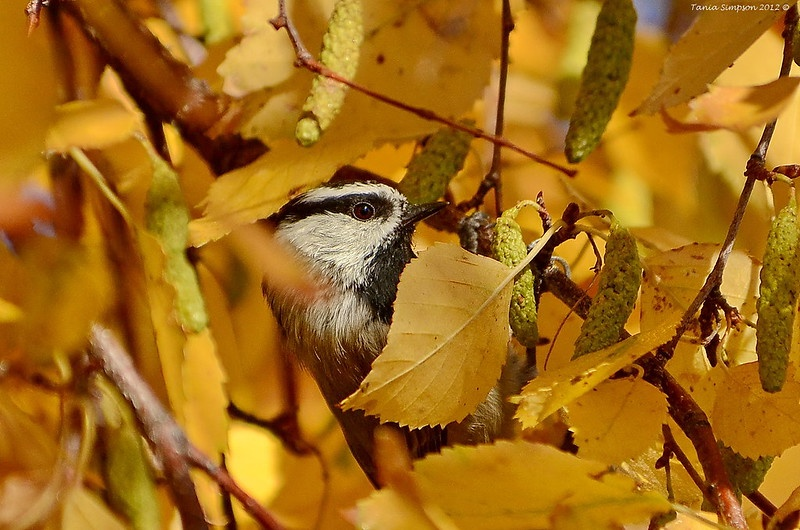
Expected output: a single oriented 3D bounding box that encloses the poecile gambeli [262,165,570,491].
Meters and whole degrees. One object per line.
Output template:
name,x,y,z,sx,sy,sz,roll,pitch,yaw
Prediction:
poecile gambeli,-0.082,0.135,1.951,0.453,0.506,0.253,-11,-7,-13
